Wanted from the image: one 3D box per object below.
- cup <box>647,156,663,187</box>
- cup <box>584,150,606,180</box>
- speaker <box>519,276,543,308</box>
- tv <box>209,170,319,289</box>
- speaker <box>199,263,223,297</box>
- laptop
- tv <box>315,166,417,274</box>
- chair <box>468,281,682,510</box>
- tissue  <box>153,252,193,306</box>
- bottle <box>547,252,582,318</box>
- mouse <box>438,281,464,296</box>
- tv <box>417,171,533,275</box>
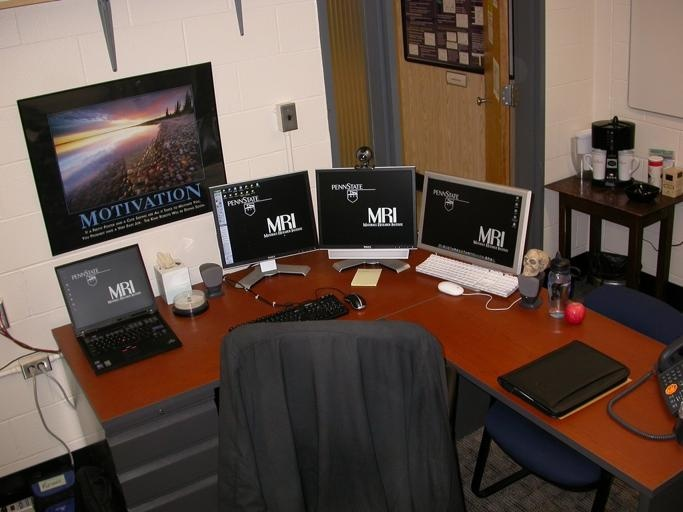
[{"bbox_3d":[2.119,-0.573,3.603,0.089,0.208,0.106,4,21,31],"label":"cup"},{"bbox_3d":[1.760,-0.646,3.763,0.112,0.190,0.184,5,26,23],"label":"cup"},{"bbox_3d":[0.881,0.164,2.485,0.080,0.148,0.078,11,31,23],"label":"speaker"},{"bbox_3d":[-0.428,-0.144,2.873,0.491,0.499,0.217,-11,32,-11],"label":"tv"},{"bbox_3d":[-0.688,0.129,2.823,0.104,0.150,0.103,-12,40,-18],"label":"speaker"},{"bbox_3d":[-1.051,0.237,2.532,0.411,0.334,0.474,-17,36,-33],"label":"laptop"},{"bbox_3d":[0.144,-0.208,2.899,0.500,0.535,0.209,0,15,6],"label":"tv"},{"bbox_3d":[0.953,0.553,2.174,0.682,1.036,0.563,-19,33,-31],"label":"chair"},{"bbox_3d":[-0.893,0.124,2.796,0.146,0.271,0.144,-18,37,-25],"label":"tissue "},{"bbox_3d":[1.015,0.128,2.456,0.125,0.314,0.107,-4,23,9],"label":"bottle"},{"bbox_3d":[0.549,0.154,2.654,0.097,0.029,0.064,17,48,31],"label":"mouse"},{"bbox_3d":[0.682,-0.153,2.759,0.568,0.435,0.076,22,30,34],"label":"tv"}]
